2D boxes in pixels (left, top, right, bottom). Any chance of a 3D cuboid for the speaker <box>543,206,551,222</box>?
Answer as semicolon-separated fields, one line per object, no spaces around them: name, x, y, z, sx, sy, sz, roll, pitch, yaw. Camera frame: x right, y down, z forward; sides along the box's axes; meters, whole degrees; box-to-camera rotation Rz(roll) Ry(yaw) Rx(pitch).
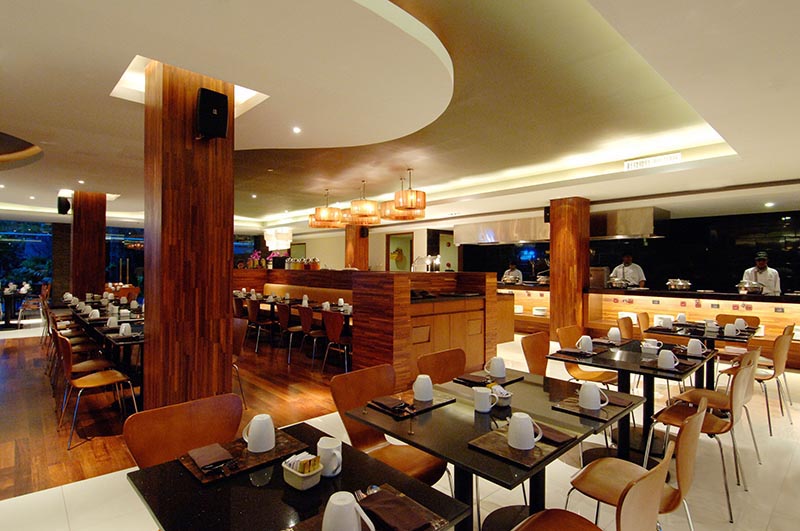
speaker;2.705;-0.956;9.689;0.081;0.276;0.297;-2;4;7

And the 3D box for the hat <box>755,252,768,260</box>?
hat;6.169;-0.181;9.028;0.147;0.078;0.212;-1;-4;40

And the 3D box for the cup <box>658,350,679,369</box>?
cup;2.558;0.890;5.066;0.195;0.186;0.151;2;-2;14

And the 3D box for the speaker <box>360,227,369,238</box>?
speaker;-0.902;-0.851;13.427;0.231;0.298;0.117;-6;5;-37

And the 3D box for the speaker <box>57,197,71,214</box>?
speaker;-6.270;-1.141;9.891;0.181;0.309;0.333;-6;5;-37

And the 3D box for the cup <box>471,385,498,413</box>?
cup;0.706;1.086;4.349;0.225;0.197;0.126;-6;5;-34

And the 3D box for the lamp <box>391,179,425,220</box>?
lamp;0.181;-1.350;9.371;0.537;0.617;0.550;-2;-4;22

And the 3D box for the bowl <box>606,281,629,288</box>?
bowl;3.880;0.331;9.451;0.171;0.084;0.226;2;1;-10

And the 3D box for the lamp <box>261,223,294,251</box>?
lamp;-2.902;-0.659;12.697;0.511;0.495;0.707;-5;5;-28

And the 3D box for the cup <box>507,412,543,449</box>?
cup;0.922;1.213;3.960;0.269;0.249;0.198;-4;4;-8

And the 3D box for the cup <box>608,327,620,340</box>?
cup;2.370;0.746;5.888;0.142;0.133;0.145;0;4;0

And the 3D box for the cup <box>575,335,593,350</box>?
cup;1.915;0.795;5.462;0.172;0.152;0.110;-1;0;4

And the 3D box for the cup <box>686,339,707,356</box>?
cup;2.991;0.831;5.383;0.177;0.177;0.131;10;-15;13

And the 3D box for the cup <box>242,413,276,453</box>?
cup;-1.025;1.218;3.899;0.278;0.253;0.223;0;0;27

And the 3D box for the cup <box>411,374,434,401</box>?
cup;0.197;1.017;4.446;0.162;0.205;0.139;-3;4;1

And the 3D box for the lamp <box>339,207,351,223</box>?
lamp;-1.060;-1.015;10.619;0.273;0.300;0.267;-3;6;-44

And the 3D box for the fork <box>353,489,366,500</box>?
fork;-0.272;1.547;3.581;0.053;0.089;0.042;-4;1;14

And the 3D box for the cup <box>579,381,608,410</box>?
cup;1.610;1.053;4.373;0.332;0.202;0.168;-6;5;-34

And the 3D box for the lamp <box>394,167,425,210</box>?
lamp;0.174;-1.325;9.442;0.631;0.717;0.637;0;-3;-1

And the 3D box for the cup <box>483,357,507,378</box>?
cup;0.897;0.940;4.950;0.155;0.202;0.233;1;-3;-38

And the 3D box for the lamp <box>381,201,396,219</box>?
lamp;-0.212;-1.031;9.751;0.309;0.233;0.310;0;-1;-10

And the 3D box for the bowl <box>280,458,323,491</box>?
bowl;-0.682;1.416;3.666;0.239;0.111;0.189;-3;-5;44

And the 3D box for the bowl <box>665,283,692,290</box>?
bowl;4.662;0.328;8.785;0.239;0.089;0.239;1;0;0

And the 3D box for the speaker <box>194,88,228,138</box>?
speaker;-1.827;-1.476;5.143;0.280;0.457;0.167;-5;5;-20

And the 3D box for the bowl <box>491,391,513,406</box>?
bowl;0.866;1.098;4.385;0.090;0.049;0.115;1;-1;-39

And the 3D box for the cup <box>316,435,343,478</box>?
cup;-0.504;1.355;3.805;0.181;0.241;0.203;-4;4;-12

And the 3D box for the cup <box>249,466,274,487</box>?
cup;-0.962;1.479;3.718;0.170;0.082;0.117;-5;4;-21
